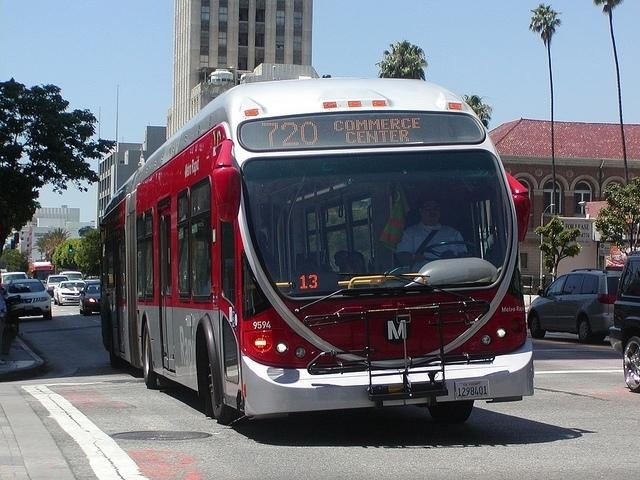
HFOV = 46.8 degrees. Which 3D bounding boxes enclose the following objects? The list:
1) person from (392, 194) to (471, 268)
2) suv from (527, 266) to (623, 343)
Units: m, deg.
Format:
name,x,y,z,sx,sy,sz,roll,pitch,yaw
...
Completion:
name,x,y,z,sx,sy,sz,roll,pitch,yaw
person,1.103,-0.098,7.841,0.461,0.822,0.797,-3,-17,40
suv,7.996,2.099,23.394,1.409,1.476,3.100,1,-1,-18
